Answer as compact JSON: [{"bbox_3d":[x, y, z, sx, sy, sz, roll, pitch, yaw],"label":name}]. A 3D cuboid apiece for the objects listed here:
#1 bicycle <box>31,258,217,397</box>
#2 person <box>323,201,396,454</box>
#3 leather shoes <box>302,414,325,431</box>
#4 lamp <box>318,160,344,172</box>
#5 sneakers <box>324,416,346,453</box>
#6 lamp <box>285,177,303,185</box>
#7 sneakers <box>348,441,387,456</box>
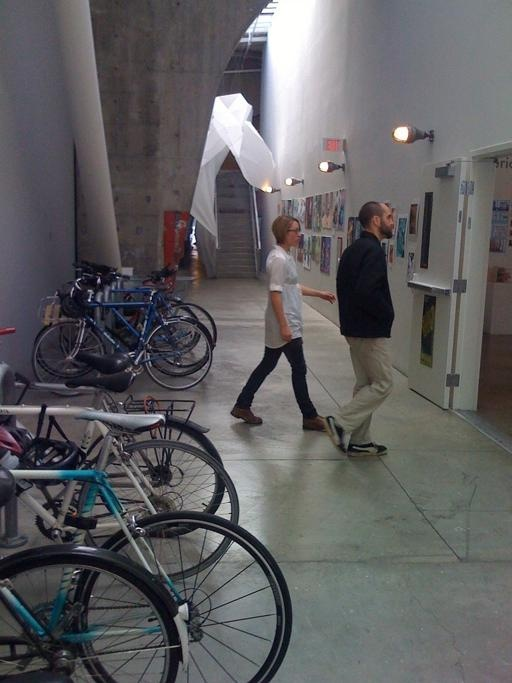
[{"bbox_3d":[-1.415,-0.102,5.757,2.281,1.536,1.070,2,2,-14],"label":"bicycle"},{"bbox_3d":[0.767,0.040,3.823,0.442,1.631,0.427,3,6,17],"label":"person"},{"bbox_3d":[0.504,0.687,4.615,0.230,0.174,0.090,-4,17,0],"label":"leather shoes"},{"bbox_3d":[1.386,-3.153,9.623,0.406,0.181,0.230,0,6,-10],"label":"lamp"},{"bbox_3d":[0.571,0.648,3.836,0.116,0.283,0.102,-19,8,-2],"label":"sneakers"},{"bbox_3d":[1.067,-4.312,14.380,0.504,0.236,0.274,-3,12,-28],"label":"lamp"},{"bbox_3d":[0.848,0.807,4.052,0.310,0.127,0.113,-1,4,-10],"label":"sneakers"}]
